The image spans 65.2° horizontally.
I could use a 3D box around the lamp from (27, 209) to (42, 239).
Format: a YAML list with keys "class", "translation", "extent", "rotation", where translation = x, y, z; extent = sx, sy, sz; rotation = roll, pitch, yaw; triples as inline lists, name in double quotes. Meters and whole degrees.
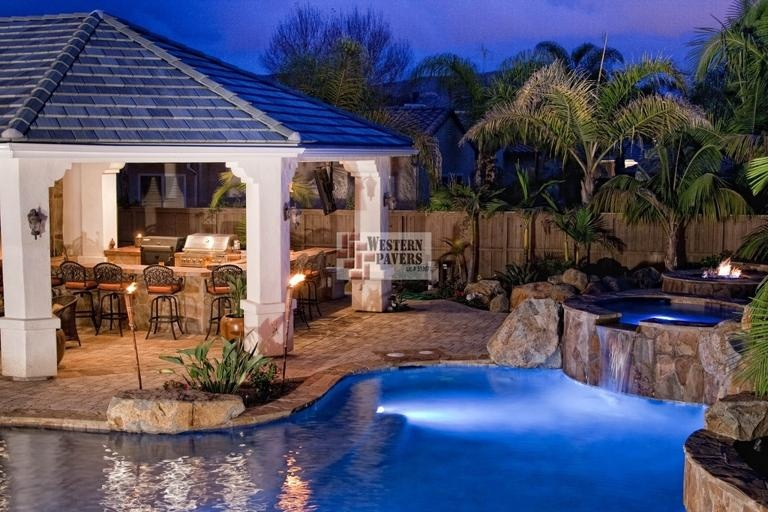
- class: "lamp"
  translation: [-6.318, -0.562, 10.877]
  extent: [0.219, 0.538, 0.088]
  rotation: [-3, 12, -25]
